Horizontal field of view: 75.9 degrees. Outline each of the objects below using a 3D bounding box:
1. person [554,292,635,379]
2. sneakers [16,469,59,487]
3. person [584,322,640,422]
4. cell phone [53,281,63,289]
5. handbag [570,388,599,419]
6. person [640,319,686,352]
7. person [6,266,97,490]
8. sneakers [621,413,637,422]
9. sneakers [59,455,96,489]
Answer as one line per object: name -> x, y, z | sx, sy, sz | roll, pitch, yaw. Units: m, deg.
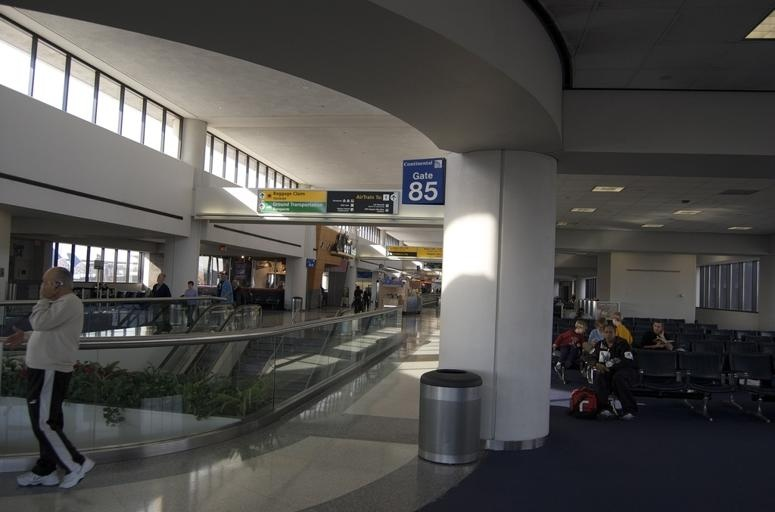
person -> 5.737, 2.052, 13.525 | 1.942, 1.188, 1.058 | -4, -11, 40
sneakers -> -3.993, 2.541, 5.752 | 0.457, 0.170, 0.183 | 9, -13, -9
person -> 4.142, 2.042, 8.983 | 0.824, 1.546, 0.852 | 5, 5, 17
cell phone -> -3.903, 0.333, 5.882 | 0.078, 0.073, 0.062 | 4, 4, 35
handbag -> 3.503, 2.631, 8.931 | 0.491, 0.473, 0.483 | -1, -16, 17
person -> 7.204, 2.057, 12.944 | 0.945, 0.904, 0.598 | -7, -21, 36
person -> -3.818, 1.384, 5.748 | 0.732, 2.457, 0.589 | 6, 5, 25
sneakers -> 4.289, 2.810, 8.760 | 0.162, 0.066, 0.368 | 7, 6, 44
sneakers -> -3.588, 2.515, 5.783 | 0.164, 0.134, 0.367 | -8, 12, 13
